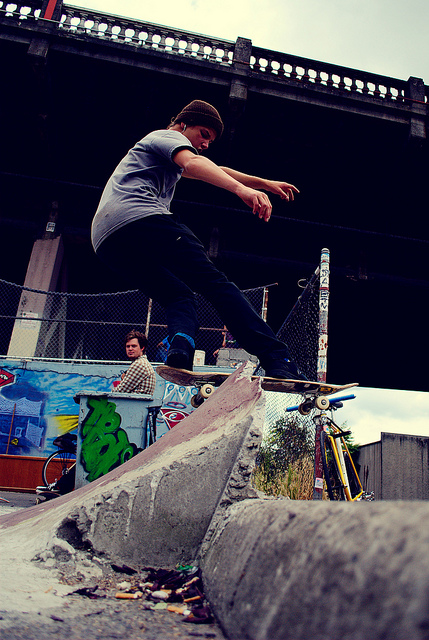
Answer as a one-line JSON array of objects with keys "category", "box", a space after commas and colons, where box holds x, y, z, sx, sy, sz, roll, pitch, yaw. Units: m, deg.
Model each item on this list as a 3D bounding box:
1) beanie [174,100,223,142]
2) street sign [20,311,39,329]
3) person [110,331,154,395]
[{"category": "beanie", "box": [-0.071, -1.084, 2.916, 0.245, 0.188, 0.160, 12, -11, -10]}, {"category": "street sign", "box": [-3.065, -0.020, 9.267, 0.248, 0.309, 0.446, 13, -11, -20]}, {"category": "person", "box": [-0.911, 0.422, 6.067, 0.469, 0.397, 0.787, 13, 33, -14]}]
